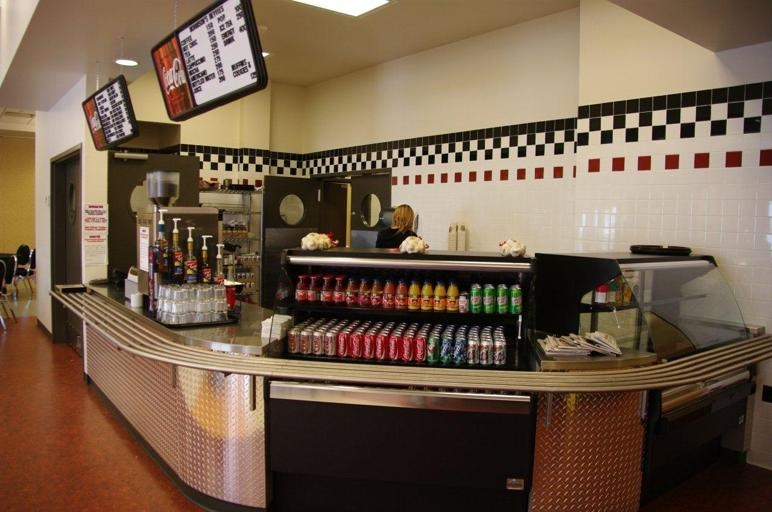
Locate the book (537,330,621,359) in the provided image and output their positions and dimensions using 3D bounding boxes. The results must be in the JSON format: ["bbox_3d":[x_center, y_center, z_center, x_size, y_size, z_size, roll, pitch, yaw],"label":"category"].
[{"bbox_3d":[1.406,0.631,4.088,0.588,0.140,0.283,0,3,-1],"label":"book"}]

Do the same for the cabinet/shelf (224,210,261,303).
[{"bbox_3d":[-2.053,0.016,8.072,0.490,1.335,0.754,-1,2,-14],"label":"cabinet/shelf"}]

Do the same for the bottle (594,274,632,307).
[{"bbox_3d":[1.697,0.263,4.207,0.280,0.295,0.170,3,-5,38],"label":"bottle"}]
